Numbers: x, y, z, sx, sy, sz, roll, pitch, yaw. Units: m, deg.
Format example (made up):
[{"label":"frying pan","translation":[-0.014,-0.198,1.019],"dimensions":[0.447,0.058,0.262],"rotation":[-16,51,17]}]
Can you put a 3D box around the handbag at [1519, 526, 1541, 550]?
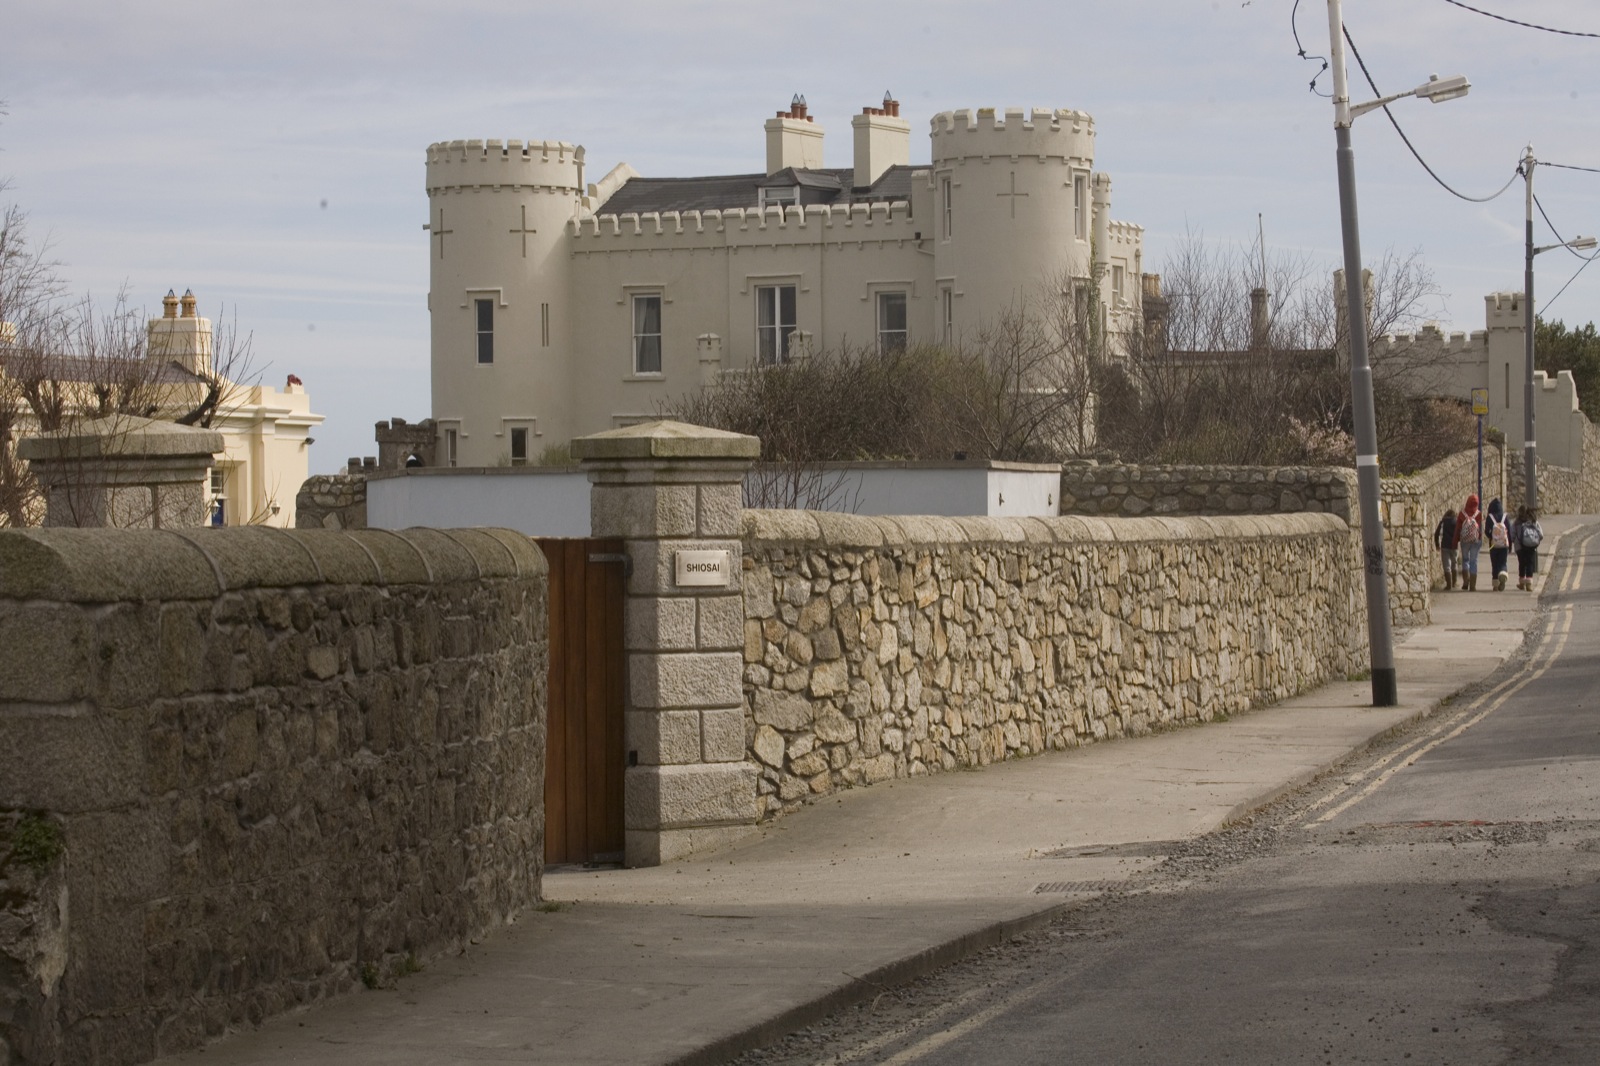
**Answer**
[{"label":"handbag","translation":[15.100,0.029,43.861],"dimensions":[0.307,0.473,0.466],"rotation":[1,23,4]}]
